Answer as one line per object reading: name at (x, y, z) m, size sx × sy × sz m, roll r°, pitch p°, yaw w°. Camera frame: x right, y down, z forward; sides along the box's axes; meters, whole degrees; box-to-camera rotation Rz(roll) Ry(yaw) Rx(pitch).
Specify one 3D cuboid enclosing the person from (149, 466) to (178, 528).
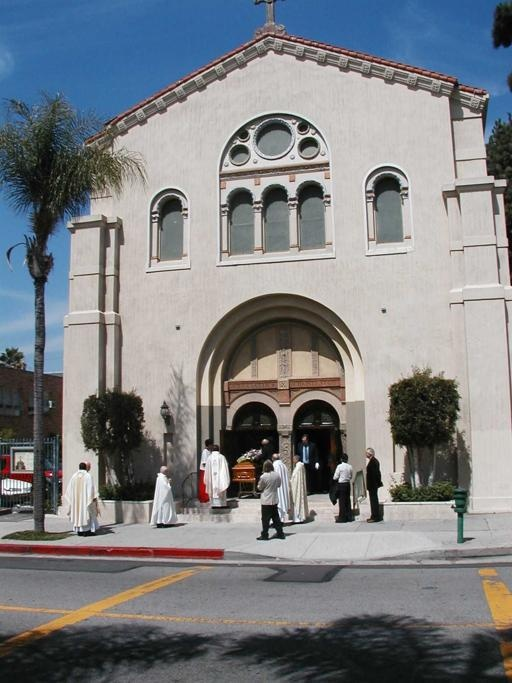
person at (-2.052, 3.469, 17.577) m, size 0.555 × 1.319 × 1.150 m, roll 1°, pitch -10°, yaw -7°

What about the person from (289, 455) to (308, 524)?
person at (0.925, 3.266, 17.392) m, size 0.363 × 1.448 × 0.728 m, roll -1°, pitch -10°, yaw 3°

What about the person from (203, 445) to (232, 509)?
person at (-0.945, 3.284, 18.696) m, size 0.527 × 1.284 × 0.813 m, roll 1°, pitch -10°, yaw -9°

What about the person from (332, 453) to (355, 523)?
person at (1.882, 3.203, 17.240) m, size 0.433 × 1.468 × 1.010 m, roll -1°, pitch -10°, yaw 7°

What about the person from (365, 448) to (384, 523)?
person at (2.507, 3.080, 16.949) m, size 0.323 × 1.576 × 0.599 m, roll -2°, pitch -10°, yaw 10°

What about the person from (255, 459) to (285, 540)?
person at (0.272, 3.062, 15.289) m, size 0.525 × 1.504 × 0.991 m, roll 0°, pitch -10°, yaw 1°

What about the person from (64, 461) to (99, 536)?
person at (-3.658, 3.359, 16.670) m, size 0.650 × 1.442 × 0.378 m, roll 3°, pitch -10°, yaw -15°

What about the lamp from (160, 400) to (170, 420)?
lamp at (-2.367, 1.811, 20.673) m, size 0.283 × 0.521 × 0.533 m, roll 1°, pitch -11°, yaw -7°

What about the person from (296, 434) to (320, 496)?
person at (1.404, 3.304, 21.095) m, size 0.502 × 1.736 × 0.517 m, roll -5°, pitch 9°, yaw 2°
